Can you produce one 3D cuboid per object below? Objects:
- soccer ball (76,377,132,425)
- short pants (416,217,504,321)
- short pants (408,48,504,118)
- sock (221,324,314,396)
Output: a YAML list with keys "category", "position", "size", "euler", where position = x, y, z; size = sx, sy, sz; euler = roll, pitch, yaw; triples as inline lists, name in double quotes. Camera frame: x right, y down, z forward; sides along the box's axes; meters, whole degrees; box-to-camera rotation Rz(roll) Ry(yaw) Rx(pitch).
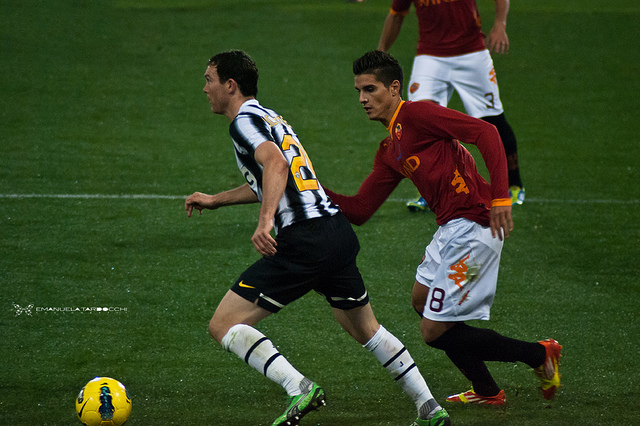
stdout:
- category: "soccer ball"
  position: [-1.714, 1.527, 9.045]
  size: [0.429, 0.354, 0.405]
  euler: [3, -15, 1]
- category: "short pants"
  position: [1.140, 0.387, 9.256]
  size: [0.582, 0.889, 0.651]
  euler: [-5, 25, -17]
- category: "short pants"
  position: [1.346, -1.283, 10.992]
  size: [0.921, 0.623, 0.280]
  euler: [3, 27, 5]
- category: "sock"
  position: [-0.383, 1.215, 8.914]
  size: [0.900, 0.279, 0.338]
  euler: [39, 61, 4]
